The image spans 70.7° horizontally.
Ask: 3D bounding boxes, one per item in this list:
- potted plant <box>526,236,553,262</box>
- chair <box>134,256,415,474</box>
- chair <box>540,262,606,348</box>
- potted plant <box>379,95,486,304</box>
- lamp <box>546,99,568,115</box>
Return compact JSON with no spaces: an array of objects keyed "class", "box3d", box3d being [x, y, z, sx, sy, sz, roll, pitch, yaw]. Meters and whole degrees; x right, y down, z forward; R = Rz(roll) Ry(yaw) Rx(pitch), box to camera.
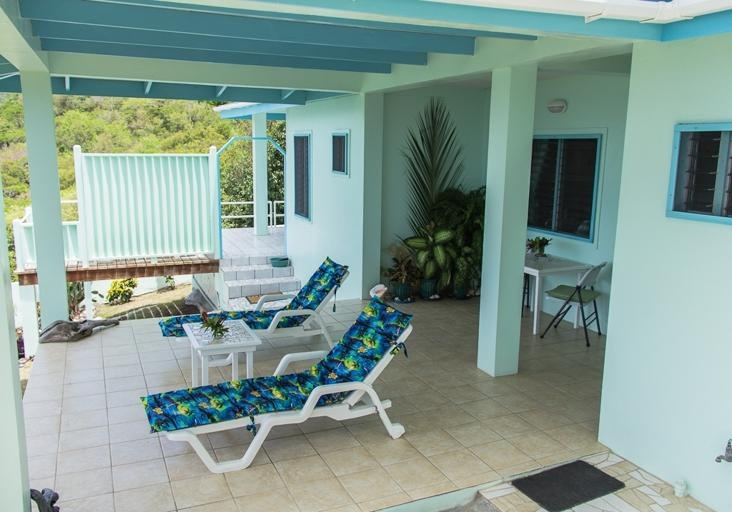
[{"class":"potted plant","box3d":[2.822,-0.150,8.647,0.567,0.331,0.528,3,3,-11]},{"class":"chair","box3d":[-0.824,1.280,5.465,2.987,1.395,1.325,-5,23,-22]},{"class":"chair","box3d":[3.256,0.693,8.049,0.926,1.168,0.793,3,10,34]},{"class":"potted plant","box3d":[1.281,-1.066,9.594,1.717,3.745,1.354,-1,14,3]},{"class":"lamp","box3d":[3.162,-2.487,8.521,0.301,0.248,0.490,3,13,19]}]
